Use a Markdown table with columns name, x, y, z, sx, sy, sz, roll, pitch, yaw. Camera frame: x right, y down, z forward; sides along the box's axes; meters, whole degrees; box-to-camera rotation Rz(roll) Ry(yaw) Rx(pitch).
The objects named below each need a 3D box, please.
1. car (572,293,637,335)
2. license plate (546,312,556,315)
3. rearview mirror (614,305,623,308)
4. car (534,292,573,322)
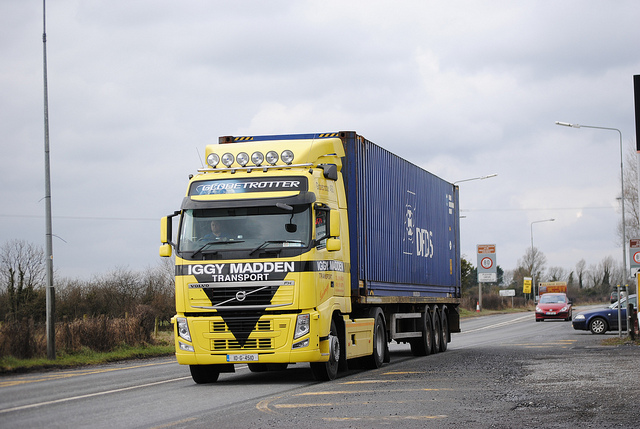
| name | x | y | z | sx | sy | sz | roll | pitch | yaw |
| --- | --- | --- | --- | --- | --- | --- | --- | --- | --- |
| car | 13.333 | 4.677 | 37.846 | 2.618 | 1.720 | 2.535 | 1 | -4 | 16 |
| license plate | 14.861 | 6.273 | 51.787 | 0.589 | 0.182 | 0.128 | 0 | -4 | 21 |
| rearview mirror | 14.312 | 4.344 | 38.514 | 0.288 | 0.090 | 0.307 | -2 | -4 | 27 |
| car | 15.418 | 5.977 | 53.194 | 1.675 | 1.358 | 3.107 | -4 | -11 | 16 |
